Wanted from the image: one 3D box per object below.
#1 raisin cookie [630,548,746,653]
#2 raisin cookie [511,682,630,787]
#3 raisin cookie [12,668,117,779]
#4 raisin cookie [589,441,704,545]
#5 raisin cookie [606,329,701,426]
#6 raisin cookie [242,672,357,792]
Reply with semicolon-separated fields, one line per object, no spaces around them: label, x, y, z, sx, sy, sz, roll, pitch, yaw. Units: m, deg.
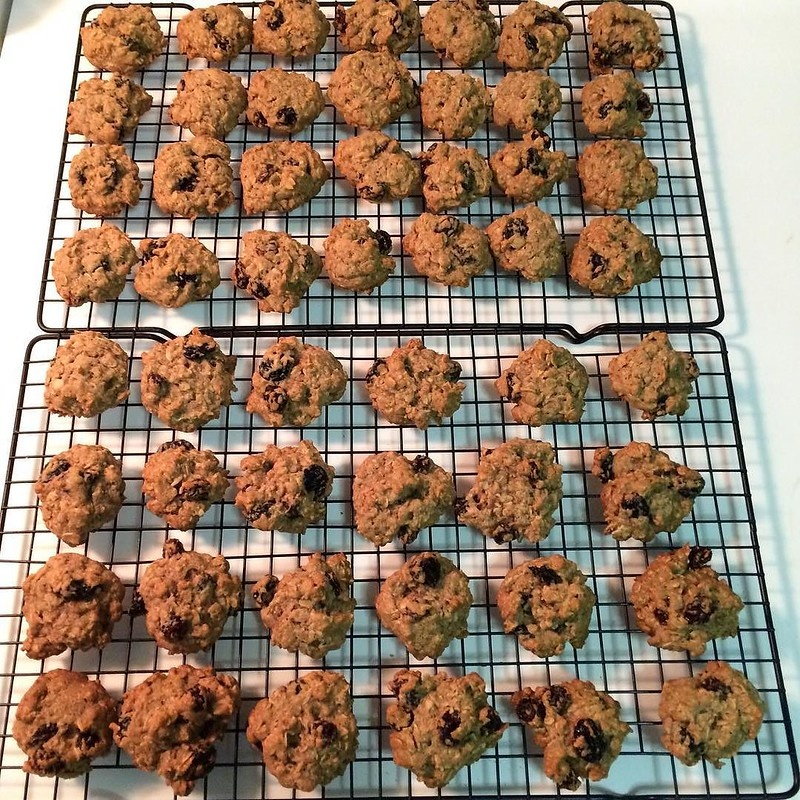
raisin cookie;0.672;0.471;2.323;0.255;0.260;0.139;-3;-10;8
raisin cookie;0.387;0.758;2.246;0.216;0.233;0.158;4;-11;-28
raisin cookie;-0.746;0.717;2.202;0.218;0.228;0.087;2;-10;-16
raisin cookie;0.582;0.217;2.327;0.247;0.237;0.073;6;-7;6
raisin cookie;0.635;-0.029;2.419;0.187;0.056;0.204;-21;22;-4
raisin cookie;-0.218;0.729;2.179;0.230;0.236;0.086;0;-10;-9
